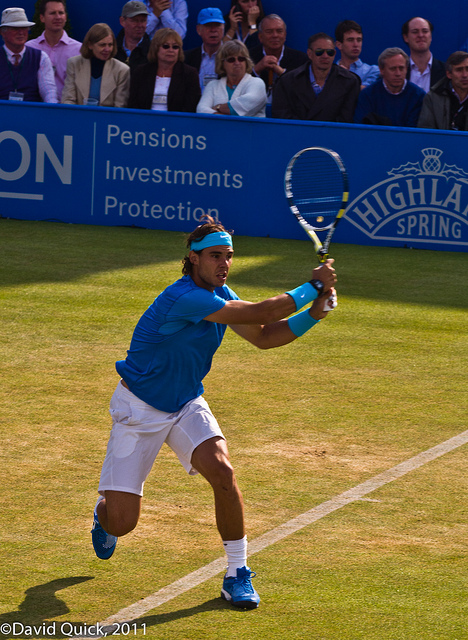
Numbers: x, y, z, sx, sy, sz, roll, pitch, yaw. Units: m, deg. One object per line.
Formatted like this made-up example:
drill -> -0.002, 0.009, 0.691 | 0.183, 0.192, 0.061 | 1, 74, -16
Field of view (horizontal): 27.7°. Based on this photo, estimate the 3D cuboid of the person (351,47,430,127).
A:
person -> 1.891, -2.647, 11.343 | 1.089, 1.038, 0.673 | -3, 16, -13

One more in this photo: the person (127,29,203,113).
person -> -0.789, -3.024, 11.575 | 0.901, 0.978, 0.496 | 6, 14, -7

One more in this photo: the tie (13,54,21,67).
tie -> -2.715, -3.261, 11.958 | 0.075, 0.153, 0.077 | 5, 14, -14

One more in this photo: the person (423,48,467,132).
person -> 2.502, -2.642, 11.026 | 0.324, 0.888, 0.372 | -3, 18, -40

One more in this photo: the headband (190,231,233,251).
headband -> -0.097, -0.340, 4.147 | 0.178, 0.100, 0.157 | 5, 11, -4

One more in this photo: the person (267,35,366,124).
person -> 1.007, -2.858, 11.334 | 1.055, 0.994, 0.517 | 7, 13, 1

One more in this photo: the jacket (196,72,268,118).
jacket -> -0.001, -2.704, 11.577 | 0.884, 0.550, 0.519 | -5, 28, -25

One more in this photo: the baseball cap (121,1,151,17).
baseball cap -> -1.343, -4.172, 12.830 | 0.279, 0.153, 0.331 | 0, -5, -28

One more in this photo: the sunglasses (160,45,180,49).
sunglasses -> -0.750, -3.269, 11.386 | 0.229, 0.065, 0.052 | -2, 16, -36

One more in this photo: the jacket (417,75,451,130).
jacket -> 2.360, -2.544, 11.148 | 0.453, 0.584, 0.360 | 6, 30, 9

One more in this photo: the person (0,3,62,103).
person -> -2.565, -3.320, 11.979 | 0.756, 1.132, 0.445 | 5, 14, -11

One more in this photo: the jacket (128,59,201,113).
jacket -> -0.795, -2.854, 11.719 | 0.825, 0.648, 0.550 | -5, 30, -28

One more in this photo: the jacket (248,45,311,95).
jacket -> 0.568, -3.357, 12.404 | 0.909, 0.721, 0.579 | -1, 31, -4

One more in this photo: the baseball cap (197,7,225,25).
baseball cap -> -0.307, -3.987, 12.482 | 0.357, 0.168, 0.413 | 0, -3, -8

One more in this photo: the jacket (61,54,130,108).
jacket -> -1.689, -2.954, 11.799 | 0.828, 0.601, 0.343 | 5, 14, -8

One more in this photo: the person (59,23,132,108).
person -> -1.676, -3.022, 11.699 | 0.930, 0.994, 0.831 | 9, 25, -1
